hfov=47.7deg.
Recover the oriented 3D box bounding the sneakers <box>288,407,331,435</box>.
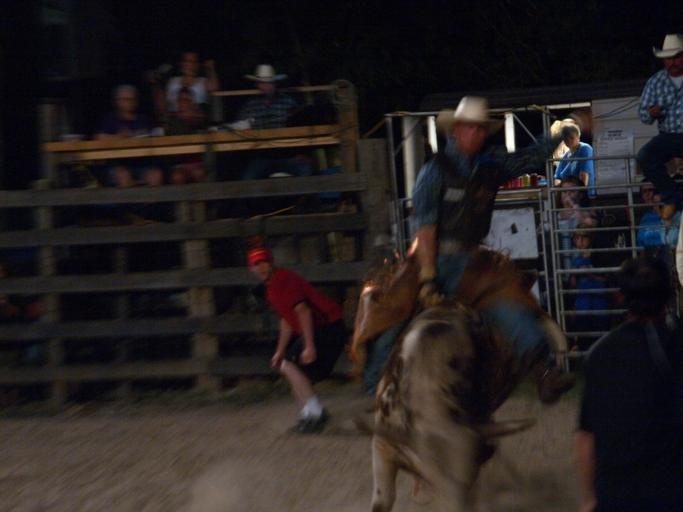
[{"bbox_3d":[-0.299,1.525,7.134,0.304,0.116,0.219,0,1,-17],"label":"sneakers"}]

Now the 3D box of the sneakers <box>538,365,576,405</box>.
[{"bbox_3d":[1.431,0.867,5.245,0.298,0.229,0.317,3,-5,-4],"label":"sneakers"}]

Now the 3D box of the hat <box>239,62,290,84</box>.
[{"bbox_3d":[-0.936,-2.123,8.947,0.456,0.159,0.444,-3,5,-15],"label":"hat"}]

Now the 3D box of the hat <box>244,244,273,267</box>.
[{"bbox_3d":[-0.794,0.002,7.416,0.190,0.173,0.233,-4,-12,-5],"label":"hat"}]

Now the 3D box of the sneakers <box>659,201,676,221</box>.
[{"bbox_3d":[3.214,-0.441,7.623,0.145,0.160,0.068,4,2,41],"label":"sneakers"}]

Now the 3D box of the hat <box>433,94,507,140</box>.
[{"bbox_3d":[0.862,-0.996,5.269,0.495,0.186,0.493,-4,16,-27],"label":"hat"}]
